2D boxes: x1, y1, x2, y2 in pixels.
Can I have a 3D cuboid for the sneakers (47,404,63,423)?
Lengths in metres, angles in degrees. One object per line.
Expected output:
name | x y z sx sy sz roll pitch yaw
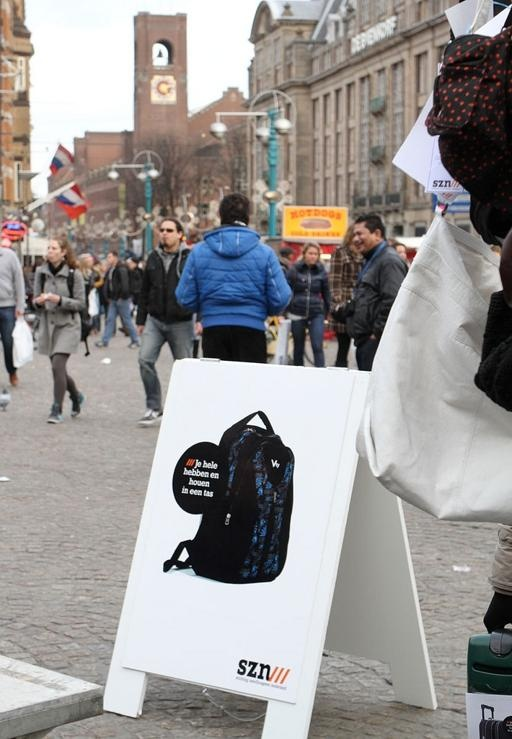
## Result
sneakers | -2.036 0.442 10.002 0.139 0.196 0.292 -6 14 -11

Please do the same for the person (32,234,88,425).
person | -1.995 -0.401 10.248 0.524 1.859 0.749 -5 13 -10

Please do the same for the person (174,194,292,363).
person | -0.183 -0.633 6.951 0.812 1.166 0.457 0 14 14

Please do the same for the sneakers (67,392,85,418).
sneakers | -1.915 0.387 10.539 0.093 0.287 0.122 -1 -22 30

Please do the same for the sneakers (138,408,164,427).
sneakers | -1.040 0.476 9.847 0.118 0.144 0.357 -2 3 19

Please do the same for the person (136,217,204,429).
person | -0.879 -0.489 9.692 0.719 2.006 0.482 -1 3 -21

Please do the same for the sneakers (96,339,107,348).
sneakers | -3.237 -0.557 20.916 0.149 0.171 0.325 -12 10 -22
